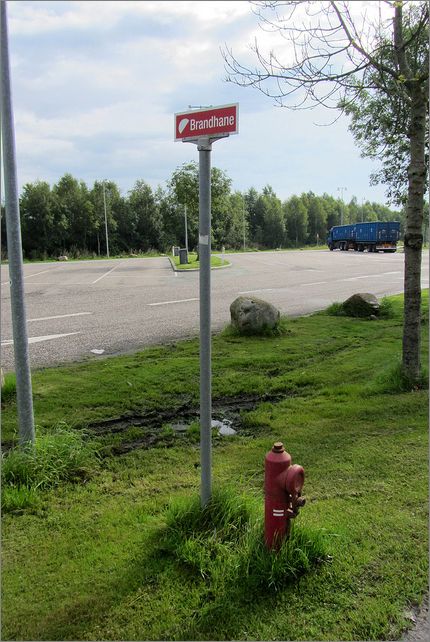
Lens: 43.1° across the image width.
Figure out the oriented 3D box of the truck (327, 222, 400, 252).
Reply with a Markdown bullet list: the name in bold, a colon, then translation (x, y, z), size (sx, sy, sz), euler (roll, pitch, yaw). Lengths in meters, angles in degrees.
- **truck**: translation (13.606, -7.764, 49.946), size (2.449, 2.834, 10.339), euler (-2, 14, -12)

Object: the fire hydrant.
- **fire hydrant**: translation (0.349, 0.882, 2.783), size (0.197, 0.542, 0.173), euler (-1, 8, 8)
